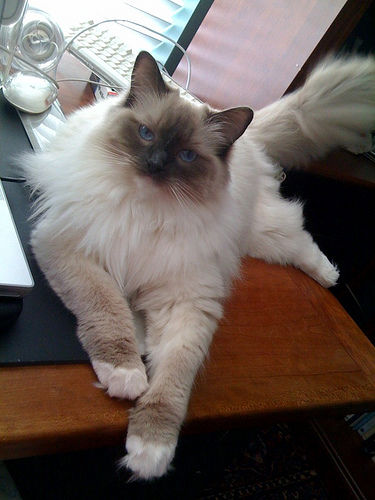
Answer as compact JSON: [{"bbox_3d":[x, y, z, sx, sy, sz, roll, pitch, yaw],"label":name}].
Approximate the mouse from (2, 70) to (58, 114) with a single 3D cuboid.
[{"bbox_3d":[-0.400,-0.401,1.080,0.131,0.103,0.061,5,11,-19],"label":"mouse"}]
